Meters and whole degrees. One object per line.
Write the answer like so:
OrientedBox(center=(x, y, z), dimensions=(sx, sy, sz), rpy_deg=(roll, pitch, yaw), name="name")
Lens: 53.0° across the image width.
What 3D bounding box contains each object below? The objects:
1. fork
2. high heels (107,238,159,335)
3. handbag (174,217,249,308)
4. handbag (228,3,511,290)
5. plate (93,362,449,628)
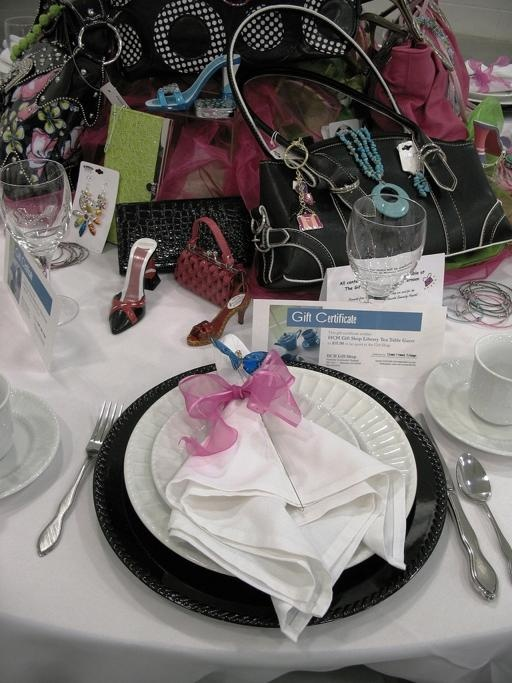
OrientedBox(center=(-0.174, 0.125, 0.549), dimensions=(0.024, 0.024, 0.200), rpy_deg=(12, 50, 15), name="fork")
OrientedBox(center=(-0.174, -0.090, 0.855), dimensions=(0.057, 0.077, 0.171), rpy_deg=(10, 52, 8), name="high heels")
OrientedBox(center=(-0.078, -0.134, 0.864), dimensions=(0.052, 0.141, 0.159), rpy_deg=(-24, 36, -29), name="handbag")
OrientedBox(center=(0.181, -0.334, 0.900), dimensions=(0.494, 0.458, 0.205), rpy_deg=(-21, 36, -19), name="handbag")
OrientedBox(center=(0.014, 0.124, 0.514), dimensions=(0.334, 0.064, 0.335), rpy_deg=(-12, 38, -10), name="plate")
